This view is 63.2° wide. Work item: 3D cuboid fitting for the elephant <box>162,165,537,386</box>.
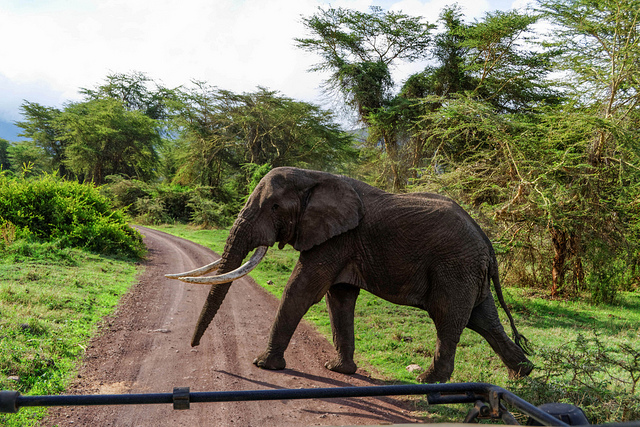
[{"bbox_3d":[1.017,1.646,14.444,9.829,4.873,3.268,4,-6,9],"label":"elephant"}]
